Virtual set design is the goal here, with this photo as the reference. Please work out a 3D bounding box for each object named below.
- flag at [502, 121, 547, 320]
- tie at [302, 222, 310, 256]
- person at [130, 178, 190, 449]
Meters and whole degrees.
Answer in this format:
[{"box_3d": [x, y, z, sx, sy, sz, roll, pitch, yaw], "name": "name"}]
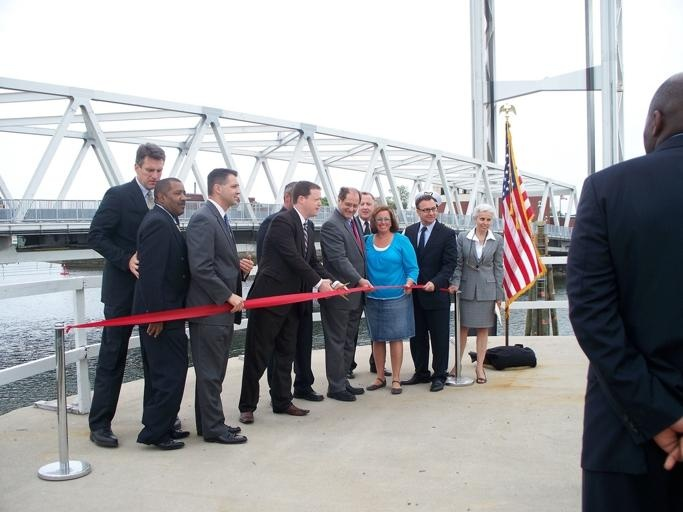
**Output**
[{"box_3d": [2.610, -0.609, 8.250, 0.554, 2.770, 1.281, -3, -5, 20], "name": "flag"}, {"box_3d": [-0.405, -0.215, 6.238, 0.060, 0.263, 0.217, 4, 5, -2], "name": "tie"}, {"box_3d": [-1.643, 0.505, 5.110, 0.492, 2.483, 0.552, 0, -5, -21], "name": "person"}]
